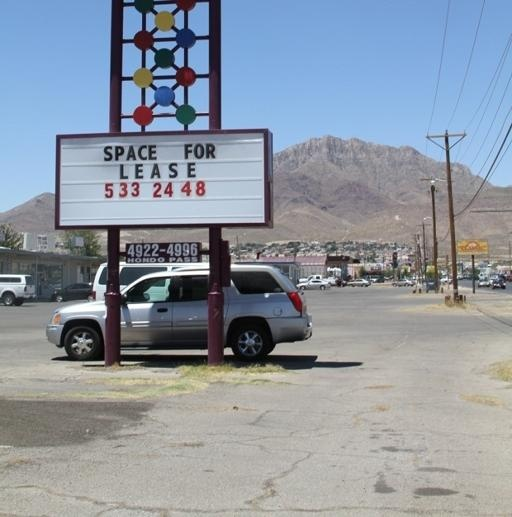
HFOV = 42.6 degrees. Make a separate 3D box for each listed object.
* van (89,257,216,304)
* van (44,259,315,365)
[{"bbox_3d":[-3.658,0.579,22.203,3.152,1.914,1.992,-1,-1,9],"label":"van"},{"bbox_3d":[-1.637,1.262,14.790,5.047,2.035,2.503,0,-5,5],"label":"van"}]
